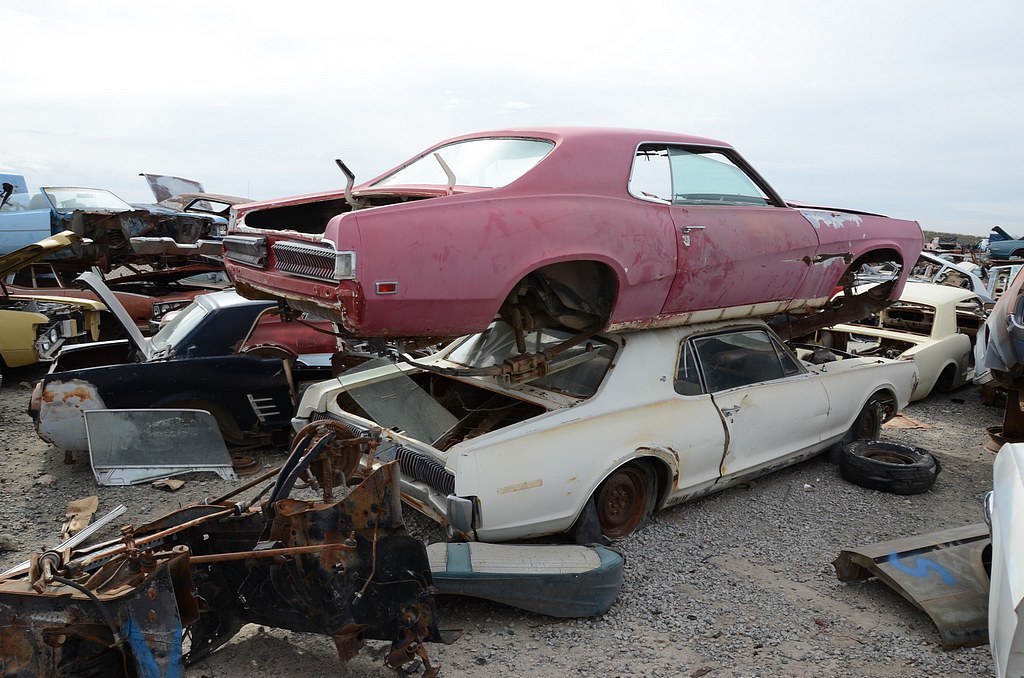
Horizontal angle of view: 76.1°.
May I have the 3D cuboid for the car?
[{"bbox_3d":[0.761,-0.198,5.474,4.594,2.986,2.260,-11,20,-31],"label":"car"}]
